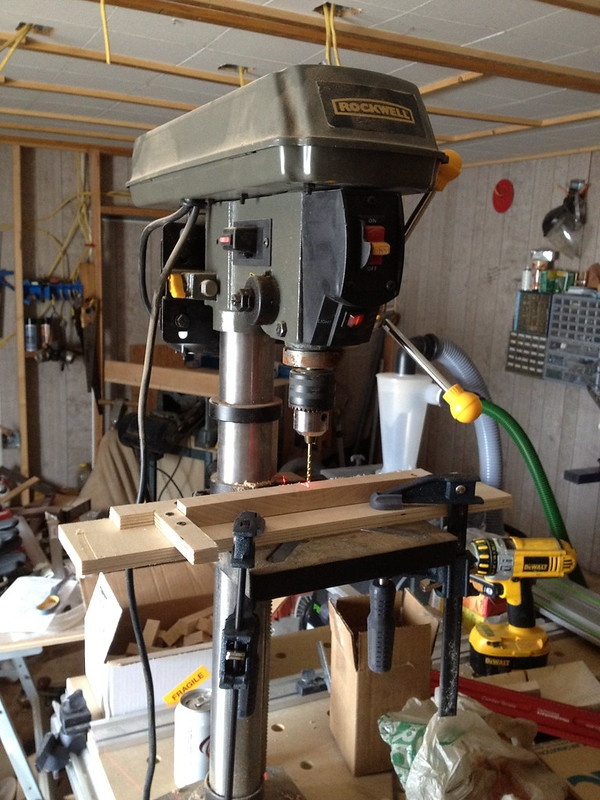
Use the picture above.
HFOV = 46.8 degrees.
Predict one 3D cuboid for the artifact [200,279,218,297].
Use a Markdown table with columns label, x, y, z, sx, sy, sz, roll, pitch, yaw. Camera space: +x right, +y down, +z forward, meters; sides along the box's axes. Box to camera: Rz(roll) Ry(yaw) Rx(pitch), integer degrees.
| label | x | y | z | sx | sy | sz | roll | pitch | yaw |
| --- | --- | --- | --- | --- | --- | --- | --- | --- | --- |
| artifact | -0.158 | -0.194 | 1.209 | 0.032 | 0.029 | 0.028 | 1 | 4 | -15 |

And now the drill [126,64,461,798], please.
| label | x | y | z | sx | sy | sz | roll | pitch | yaw |
| --- | --- | --- | --- | --- | --- | --- | --- | --- | --- |
| drill | -0.023 | 0.102 | 1.231 | 0.503 | 1.221 | 0.557 | 1 | 10 | -28 |

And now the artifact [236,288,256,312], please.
| label | x | y | z | sx | sy | sz | roll | pitch | yaw |
| --- | --- | --- | --- | --- | --- | --- | --- | --- | --- |
| artifact | -0.082 | -0.149 | 1.043 | 0.031 | 0.035 | 0.041 | -3 | 3 | 0 |
